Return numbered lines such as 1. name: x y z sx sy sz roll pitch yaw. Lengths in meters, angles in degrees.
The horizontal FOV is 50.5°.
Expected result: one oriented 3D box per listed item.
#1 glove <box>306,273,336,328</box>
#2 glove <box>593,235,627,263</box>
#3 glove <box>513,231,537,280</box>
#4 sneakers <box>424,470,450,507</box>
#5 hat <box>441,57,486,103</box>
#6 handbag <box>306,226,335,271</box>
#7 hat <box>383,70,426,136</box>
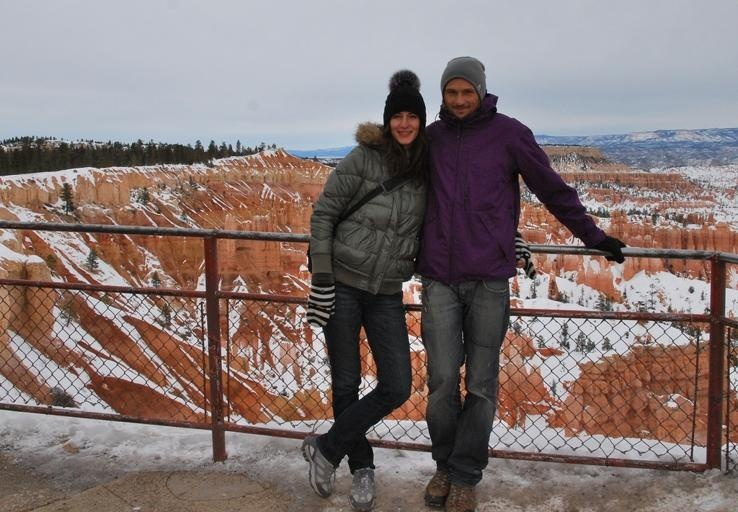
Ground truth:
1. glove: -0.369 0.351 6.162 0.228 0.405 0.099 5 4 7
2. glove: 1.958 -0.044 6.284 0.210 0.227 0.324 2 8 27
3. glove: 1.262 0.034 6.315 0.137 0.402 0.164 -15 9 28
4. sneakers: 0.541 1.870 6.209 0.118 0.149 0.354 7 -3 8
5. hat: 0.750 -1.378 6.125 0.344 0.320 0.397 -1 7 8
6. handbag: -0.393 -0.052 6.342 0.258 0.342 0.129 3 8 -6
7. hat: 0.283 -1.209 6.211 0.324 0.481 0.177 -2 7 0
